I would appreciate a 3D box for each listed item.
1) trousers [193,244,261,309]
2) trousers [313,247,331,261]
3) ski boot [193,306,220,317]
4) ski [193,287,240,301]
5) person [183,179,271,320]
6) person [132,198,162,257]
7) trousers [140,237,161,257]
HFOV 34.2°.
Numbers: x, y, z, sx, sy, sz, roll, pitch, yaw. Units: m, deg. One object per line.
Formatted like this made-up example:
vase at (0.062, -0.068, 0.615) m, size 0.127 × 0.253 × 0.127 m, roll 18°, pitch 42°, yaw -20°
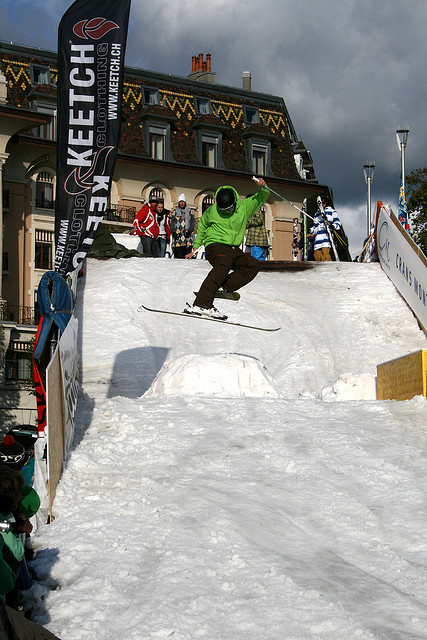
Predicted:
trousers at (0.211, -0.734, 9.827) m, size 0.829 × 1.182 × 0.684 m, roll 6°, pitch 1°, yaw -12°
trousers at (3.289, -2.026, 21.000) m, size 0.327 × 0.418 × 1.272 m, roll 4°, pitch 3°, yaw 24°
ski boot at (-0.106, -0.114, 9.761) m, size 0.395 × 0.142 × 0.175 m, roll 6°, pitch -27°, yaw -9°
ski at (0.133, -0.366, 9.669) m, size 0.466 × 0.152 × 0.206 m, roll 2°, pitch 4°, yaw 14°
person at (0.175, -0.918, 9.686) m, size 1.160 × 1.925 × 0.887 m, roll 4°, pitch 7°, yaw 14°
person at (-1.835, -2.678, 21.160) m, size 0.963 × 2.323 × 0.641 m, roll -4°, pitch 29°, yaw -7°
trousers at (-1.889, -2.239, 21.015) m, size 0.618 × 0.545 × 0.408 m, roll 3°, pitch 7°, yaw 1°
